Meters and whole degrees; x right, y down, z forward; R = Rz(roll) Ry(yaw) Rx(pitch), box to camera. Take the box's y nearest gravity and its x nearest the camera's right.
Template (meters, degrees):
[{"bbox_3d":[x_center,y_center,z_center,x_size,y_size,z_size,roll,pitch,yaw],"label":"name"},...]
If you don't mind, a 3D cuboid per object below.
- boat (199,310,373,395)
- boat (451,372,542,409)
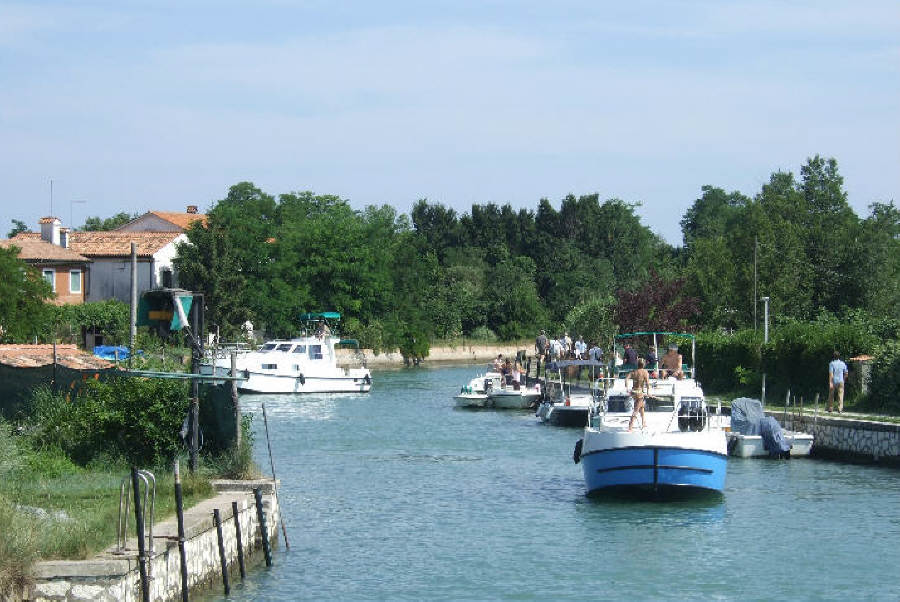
[{"bbox_3d":[-9.718,2.995,107.878,11.083,5.207,4.122,1,-6,-36],"label":"boat"},{"bbox_3d":[2.753,4.999,99.172,3.657,1.663,2.114,1,-2,25],"label":"boat"}]
